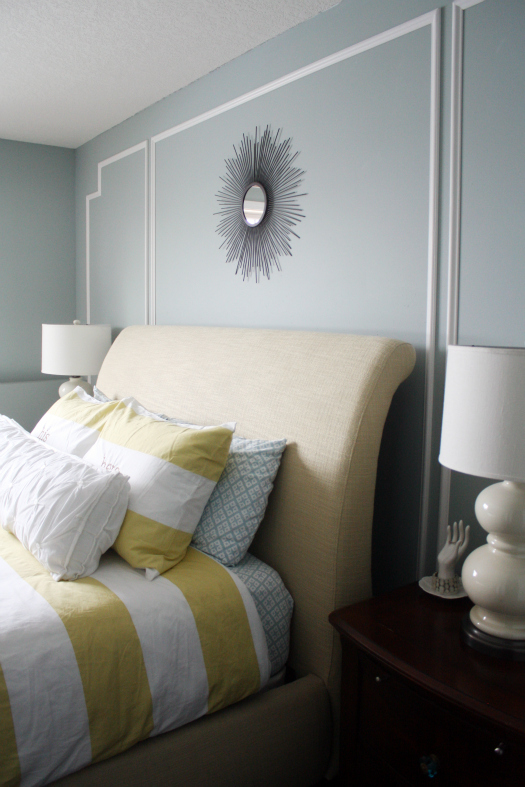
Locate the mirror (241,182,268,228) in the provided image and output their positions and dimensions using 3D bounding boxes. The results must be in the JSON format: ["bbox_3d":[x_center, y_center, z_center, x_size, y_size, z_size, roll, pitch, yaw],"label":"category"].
[{"bbox_3d":[-0.027,-0.668,2.087,0.025,0.153,0.151,-3,5,-28],"label":"mirror"}]

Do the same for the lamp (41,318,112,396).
[{"bbox_3d":[-0.992,-0.114,3.116,0.297,0.511,0.311,5,6,18],"label":"lamp"}]

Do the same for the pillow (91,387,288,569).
[{"bbox_3d":[-0.106,0.188,1.385,0.257,0.275,0.080,3,-27,38],"label":"pillow"}]
